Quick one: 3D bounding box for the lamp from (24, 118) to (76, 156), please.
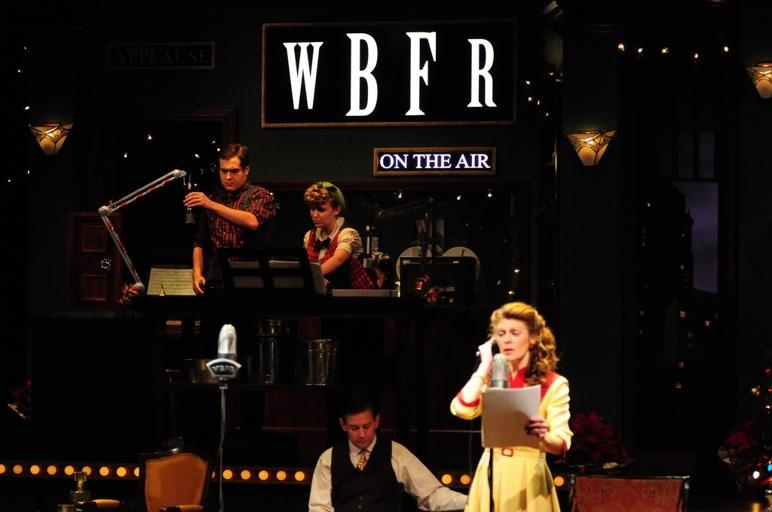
[{"bbox_3d":[-3.387,-1.222,10.719,0.361,0.282,0.330,0,-8,-11],"label":"lamp"}]

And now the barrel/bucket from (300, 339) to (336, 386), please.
[{"bbox_3d":[-0.547,0.867,8.540,0.310,0.356,0.314,0,-10,0],"label":"barrel/bucket"}]

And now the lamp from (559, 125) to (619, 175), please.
[{"bbox_3d":[1.889,-0.991,9.785,0.356,0.283,0.332,0,1,-4],"label":"lamp"}]

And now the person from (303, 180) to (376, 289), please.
[{"bbox_3d":[-0.412,-0.180,9.200,0.638,0.857,0.514,-2,-1,2],"label":"person"}]

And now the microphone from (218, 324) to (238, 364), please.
[{"bbox_3d":[-1.063,0.584,7.067,0.111,0.213,0.173,-2,-1,-3],"label":"microphone"}]

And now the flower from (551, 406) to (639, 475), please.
[{"bbox_3d":[1.662,1.454,8.620,0.521,0.604,0.531,-5,-4,45],"label":"flower"}]

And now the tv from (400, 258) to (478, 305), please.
[{"bbox_3d":[0.534,0.251,10.167,0.779,0.452,0.547,1,7,-1],"label":"tv"}]

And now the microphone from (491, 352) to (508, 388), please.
[{"bbox_3d":[0.778,0.802,7.321,0.118,0.227,0.229,-2,-1,7],"label":"microphone"}]

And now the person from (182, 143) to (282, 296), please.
[{"bbox_3d":[-1.312,-0.312,8.962,0.744,1.149,0.734,-2,-1,-8],"label":"person"}]
